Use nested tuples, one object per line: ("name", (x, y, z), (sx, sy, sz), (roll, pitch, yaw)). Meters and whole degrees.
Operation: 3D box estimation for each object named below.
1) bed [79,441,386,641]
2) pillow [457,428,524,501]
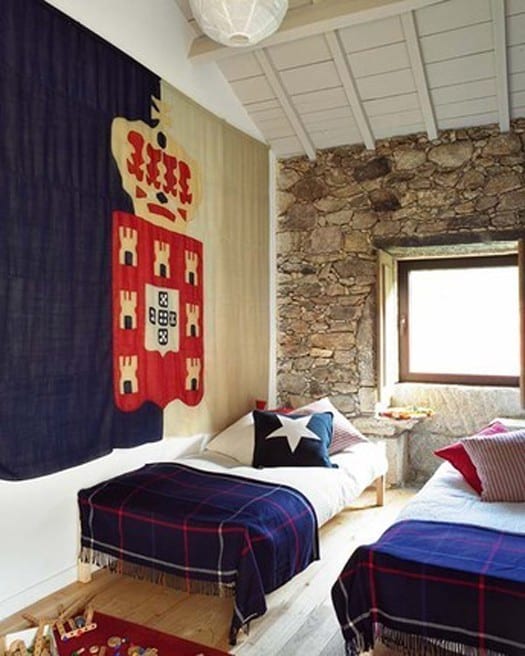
("bed", (-0.029, 0.890, 2.359), (0.585, 0.286, 1.034), (0, -1, 30))
("pillow", (1.157, 0.664, 2.313), (0.275, 0.285, 0.090), (-15, -36, 21))
